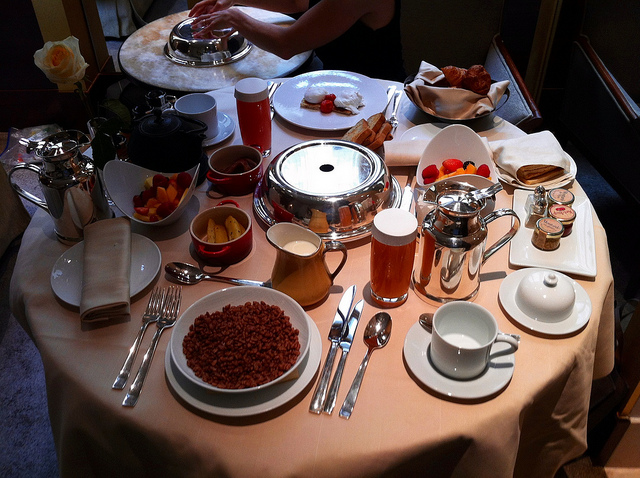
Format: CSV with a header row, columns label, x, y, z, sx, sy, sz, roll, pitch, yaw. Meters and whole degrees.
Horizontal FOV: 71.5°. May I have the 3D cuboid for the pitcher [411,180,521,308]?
label,x,y,z,sx,sy,sz,roll,pitch,yaw
pitcher,0.350,-0.003,1.065,0.232,0.270,0.166,-14,39,-11

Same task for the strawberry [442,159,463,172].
label,x,y,z,sx,sy,sz,roll,pitch,yaw
strawberry,0.388,-0.220,1.294,0.035,0.029,0.046,32,41,33

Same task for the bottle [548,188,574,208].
label,x,y,z,sx,sy,sz,roll,pitch,yaw
bottle,0.676,-0.120,1.240,0.052,0.056,0.058,0,47,18

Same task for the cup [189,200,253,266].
label,x,y,z,sx,sy,sz,roll,pitch,yaw
cup,-0.258,-0.006,1.168,0.144,0.088,0.232,7,38,2

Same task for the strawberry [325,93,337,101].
label,x,y,z,sx,sy,sz,roll,pitch,yaw
strawberry,0.040,-0.526,1.633,0.032,0.019,0.035,0,34,-1

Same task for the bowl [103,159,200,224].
label,x,y,z,sx,sy,sz,roll,pitch,yaw
bowl,-0.459,-0.127,1.251,0.199,0.128,0.190,-6,51,8

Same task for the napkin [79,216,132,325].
label,x,y,z,sx,sy,sz,roll,pitch,yaw
napkin,-0.519,0.063,1.080,0.119,0.039,0.277,-6,53,-8

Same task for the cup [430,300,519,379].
label,x,y,z,sx,sy,sz,roll,pitch,yaw
cup,0.314,0.216,0.925,0.172,0.098,0.138,27,57,21

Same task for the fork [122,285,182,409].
label,x,y,z,sx,sy,sz,roll,pitch,yaw
fork,-0.401,0.235,1.027,0.053,0.051,0.349,14,32,-16

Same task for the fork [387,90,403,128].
label,x,y,z,sx,sy,sz,roll,pitch,yaw
fork,0.283,-0.498,1.654,0.039,0.029,0.249,9,51,1

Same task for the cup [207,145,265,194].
label,x,y,z,sx,sy,sz,roll,pitch,yaw
cup,-0.263,-0.192,1.377,0.146,0.090,0.220,7,26,16

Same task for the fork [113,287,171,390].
label,x,y,z,sx,sy,sz,roll,pitch,yaw
fork,-0.396,0.203,1.018,0.032,0.031,0.266,5,62,25

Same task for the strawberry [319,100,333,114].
label,x,y,z,sx,sy,sz,roll,pitch,yaw
strawberry,0.021,-0.489,1.599,0.040,0.045,0.044,3,37,3

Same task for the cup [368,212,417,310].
label,x,y,z,sx,sy,sz,roll,pitch,yaw
cup,0.171,0.050,1.054,0.100,0.215,0.098,-1,32,1

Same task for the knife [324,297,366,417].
label,x,y,z,sx,sy,sz,roll,pitch,yaw
knife,0.039,0.226,0.899,0.033,0.308,0.011,10,20,4

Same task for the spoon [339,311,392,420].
label,x,y,z,sx,sy,sz,roll,pitch,yaw
spoon,0.117,0.239,0.979,0.057,0.038,0.329,1,45,28

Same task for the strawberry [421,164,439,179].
label,x,y,z,sx,sy,sz,roll,pitch,yaw
strawberry,0.322,-0.198,1.289,0.033,0.026,0.043,-10,19,13

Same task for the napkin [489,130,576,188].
label,x,y,z,sx,sy,sz,roll,pitch,yaw
napkin,0.647,-0.264,1.340,0.182,0.057,0.200,-12,44,-5

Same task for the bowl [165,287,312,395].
label,x,y,z,sx,sy,sz,roll,pitch,yaw
bowl,-0.169,0.197,0.942,0.279,0.053,0.232,-2,53,0
